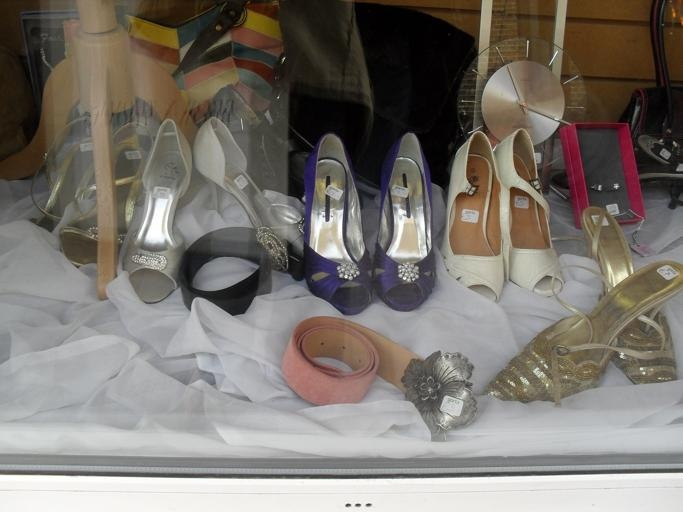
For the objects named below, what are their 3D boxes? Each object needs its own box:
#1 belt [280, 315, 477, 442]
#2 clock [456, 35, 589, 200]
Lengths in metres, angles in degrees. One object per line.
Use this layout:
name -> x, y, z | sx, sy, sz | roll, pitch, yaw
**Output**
belt -> 0.066, 0.213, 0.984 | 0.286, 0.096, 0.192 | 37, 45, 6
clock -> 0.407, -0.311, 1.268 | 0.275, 0.333, 0.075 | 4, 10, 3
